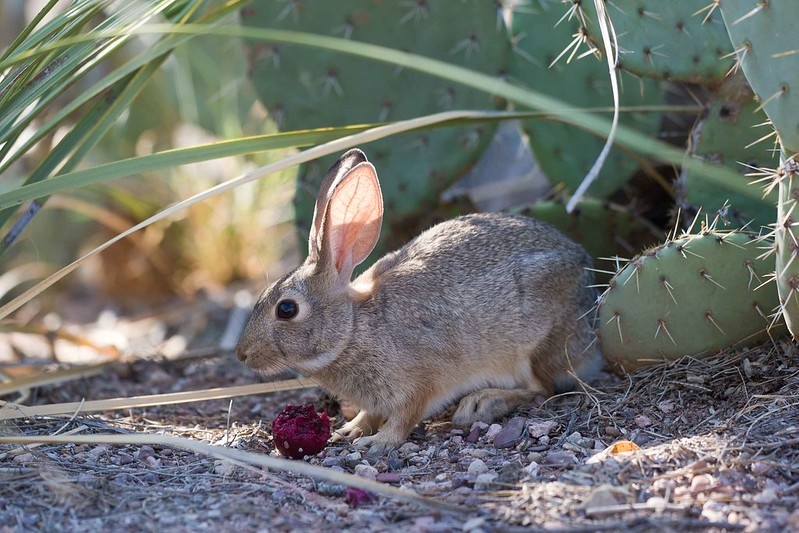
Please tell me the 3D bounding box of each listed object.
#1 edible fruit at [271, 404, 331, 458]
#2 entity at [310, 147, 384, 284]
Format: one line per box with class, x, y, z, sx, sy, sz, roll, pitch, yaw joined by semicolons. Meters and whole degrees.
edible fruit;-0.493;0.854;3.910;0.289;0.187;0.313;-8;25;-23
entity;-0.271;-0.211;3.992;0.270;0.823;0.386;3;3;1
